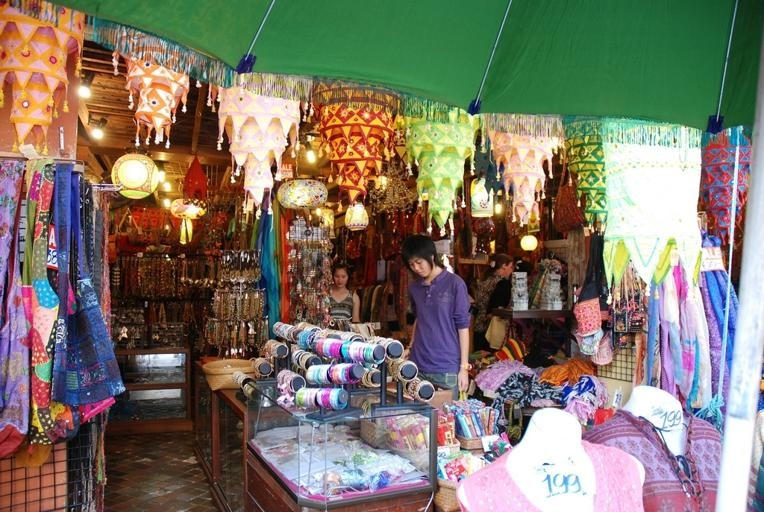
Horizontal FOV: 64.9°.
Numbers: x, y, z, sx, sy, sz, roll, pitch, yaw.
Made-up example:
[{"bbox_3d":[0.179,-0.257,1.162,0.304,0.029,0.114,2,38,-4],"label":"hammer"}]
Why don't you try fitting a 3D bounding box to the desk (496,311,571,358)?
[{"bbox_3d":[1.594,0.771,6.188,0.718,0.767,0.762,0,-3,9],"label":"desk"}]
